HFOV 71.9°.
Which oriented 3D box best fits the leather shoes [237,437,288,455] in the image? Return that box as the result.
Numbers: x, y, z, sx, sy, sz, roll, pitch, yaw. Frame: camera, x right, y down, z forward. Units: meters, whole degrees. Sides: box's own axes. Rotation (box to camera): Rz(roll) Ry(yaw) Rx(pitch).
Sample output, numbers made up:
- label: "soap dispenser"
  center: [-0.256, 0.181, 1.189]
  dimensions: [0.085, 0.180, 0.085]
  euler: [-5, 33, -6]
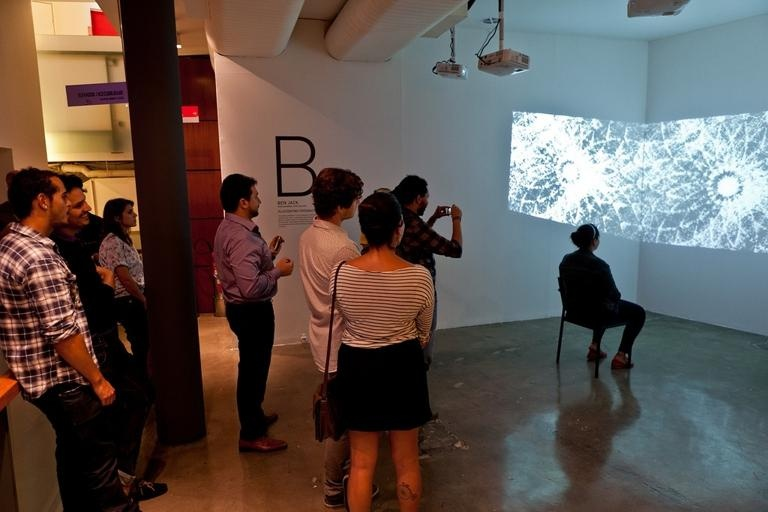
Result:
- label: "leather shoes"
  center: [-1.049, 1.578, 4.507]
  dimensions: [0.427, 0.177, 0.148]
  euler: [-1, -3, -7]

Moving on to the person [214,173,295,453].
- label: "person"
  center: [-1.090, 0.498, 4.293]
  dimensions: [0.534, 2.276, 0.414]
  euler: [-4, 10, -23]

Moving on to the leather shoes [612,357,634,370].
- label: "leather shoes"
  center: [2.589, 1.159, 5.725]
  dimensions: [0.207, 0.127, 0.117]
  euler: [-1, 0, -3]

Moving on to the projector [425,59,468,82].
- label: "projector"
  center: [0.757, -2.162, 6.177]
  dimensions: [0.345, 0.198, 0.250]
  euler: [0, 10, 0]

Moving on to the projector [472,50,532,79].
- label: "projector"
  center: [1.272, -2.070, 5.616]
  dimensions: [0.354, 0.256, 0.454]
  euler: [-9, 13, -42]

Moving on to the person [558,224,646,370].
- label: "person"
  center: [2.319, 0.446, 5.648]
  dimensions: [0.861, 1.549, 0.441]
  euler: [3, 10, 19]
